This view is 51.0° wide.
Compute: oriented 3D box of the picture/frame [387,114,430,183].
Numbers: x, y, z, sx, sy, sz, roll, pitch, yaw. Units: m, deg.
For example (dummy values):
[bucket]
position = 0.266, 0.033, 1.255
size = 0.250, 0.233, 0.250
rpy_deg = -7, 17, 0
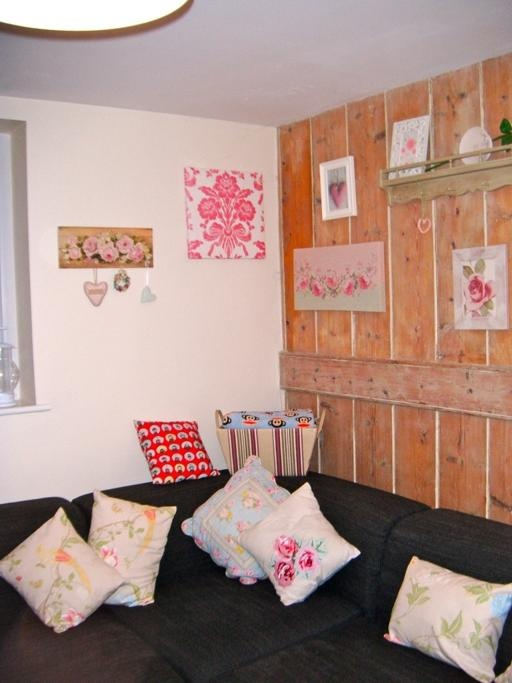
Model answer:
[picture/frame]
position = 0.686, -0.876, 2.405
size = 0.096, 0.271, 0.250
rpy_deg = 0, 1, -31

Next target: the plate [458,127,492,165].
[plate]
position = 0.879, -0.789, 2.155
size = 0.036, 0.143, 0.149
rpy_deg = -1, -14, -32
